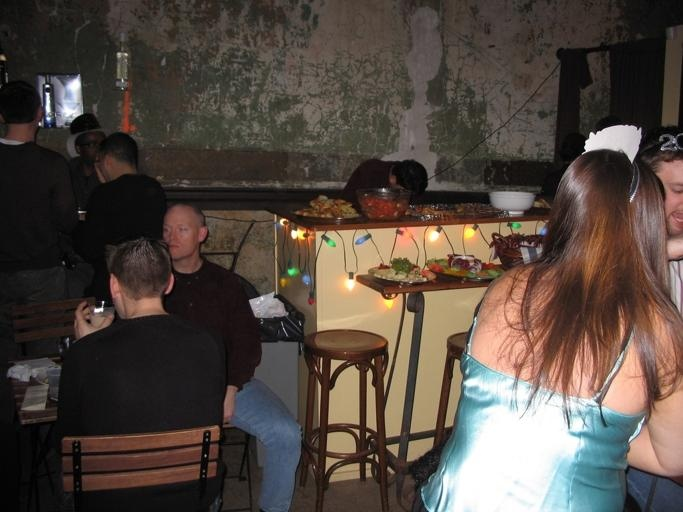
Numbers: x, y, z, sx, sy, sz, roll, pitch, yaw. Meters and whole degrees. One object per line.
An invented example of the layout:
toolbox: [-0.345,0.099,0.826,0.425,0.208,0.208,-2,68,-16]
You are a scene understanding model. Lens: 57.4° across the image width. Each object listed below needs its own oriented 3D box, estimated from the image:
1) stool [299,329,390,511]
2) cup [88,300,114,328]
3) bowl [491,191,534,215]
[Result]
stool: [0.006,0.991,3.799,0.565,1.072,0.616,-2,3,0]
cup: [-1.124,0.263,2.924,0.104,0.098,0.118,8,22,-1]
bowl: [1.173,-0.371,4.246,0.191,0.096,0.191,0,11,0]
